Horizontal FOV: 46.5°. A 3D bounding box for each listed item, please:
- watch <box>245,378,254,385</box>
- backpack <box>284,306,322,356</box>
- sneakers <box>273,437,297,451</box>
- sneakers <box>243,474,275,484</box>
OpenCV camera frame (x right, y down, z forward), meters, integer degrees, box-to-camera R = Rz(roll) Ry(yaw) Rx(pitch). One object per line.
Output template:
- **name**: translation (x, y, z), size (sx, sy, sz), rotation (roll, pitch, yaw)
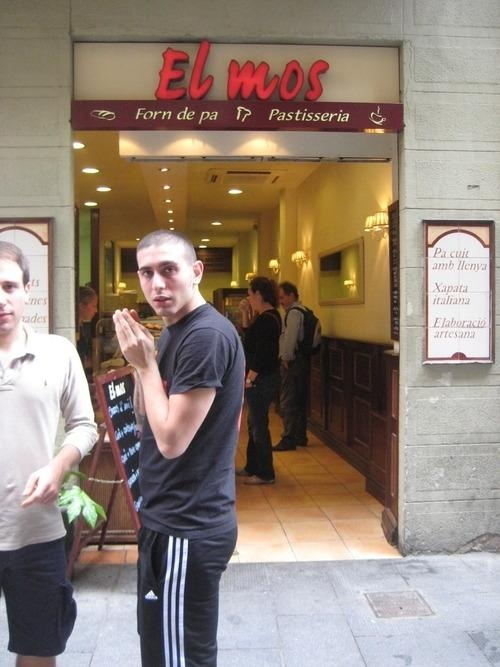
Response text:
- **watch**: translation (0.000, 0.376, 4.422), size (0.054, 0.063, 0.036), rotation (0, 1, 0)
- **backpack**: translation (0.484, -0.074, 5.731), size (0.294, 0.438, 0.291), rotation (11, -13, -19)
- **sneakers**: translation (0.344, 1.081, 5.680), size (0.255, 0.175, 0.100), rotation (3, -3, -7)
- **sneakers**: translation (0.072, 1.121, 4.512), size (0.228, 0.085, 0.084), rotation (4, -6, -10)
